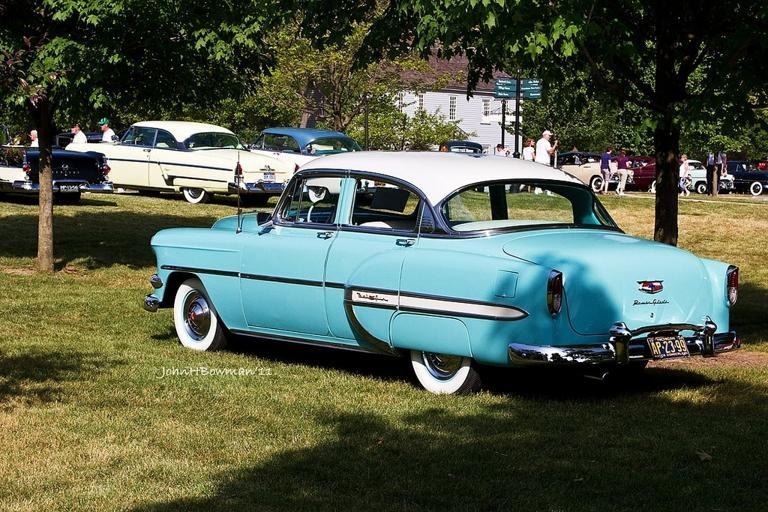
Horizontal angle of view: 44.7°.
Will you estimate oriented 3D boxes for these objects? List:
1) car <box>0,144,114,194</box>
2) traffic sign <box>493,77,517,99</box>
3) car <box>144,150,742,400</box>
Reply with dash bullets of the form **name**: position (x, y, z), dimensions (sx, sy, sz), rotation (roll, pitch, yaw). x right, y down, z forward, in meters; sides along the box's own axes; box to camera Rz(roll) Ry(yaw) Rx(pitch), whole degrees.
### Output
- **car**: position (-7.768, -1.976, 22.025), dimensions (1.502, 0.846, 2.393), rotation (-2, 5, -40)
- **traffic sign**: position (3.205, -4.419, 24.769), dimensions (0.865, 0.777, 0.520), rotation (1, 10, 2)
- **car**: position (0.605, 0.169, 10.415), dimensions (4.776, 1.667, 2.963), rotation (6, 5, 33)
